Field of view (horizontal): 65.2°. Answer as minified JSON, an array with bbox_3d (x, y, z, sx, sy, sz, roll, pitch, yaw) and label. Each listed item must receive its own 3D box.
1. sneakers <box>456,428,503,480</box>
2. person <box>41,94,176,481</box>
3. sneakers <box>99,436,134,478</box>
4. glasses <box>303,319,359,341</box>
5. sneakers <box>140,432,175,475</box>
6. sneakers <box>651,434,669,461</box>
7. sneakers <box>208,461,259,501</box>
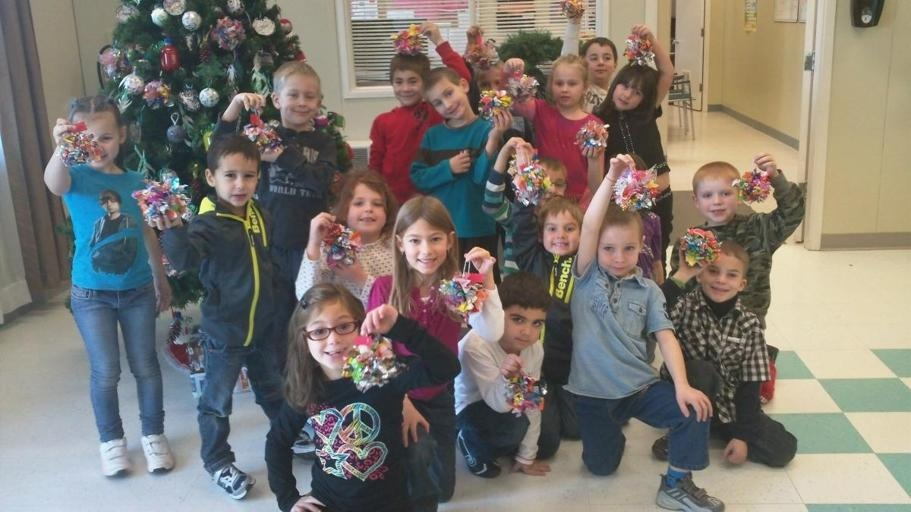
[{"bbox_3d":[0.101,1.171,4.302,0.162,0.149,0.400,-12,25,-30],"label":"sneakers"},{"bbox_3d":[-2.060,0.194,4.293,0.580,2.244,0.636,-7,16,-13],"label":"person"},{"bbox_3d":[-2.069,1.238,4.324,0.125,0.111,0.304,-8,10,-36],"label":"sneakers"},{"bbox_3d":[-0.640,0.386,3.639,0.273,0.076,0.079,-4,14,-8],"label":"glasses"},{"bbox_3d":[-1.848,1.205,4.399,0.125,0.119,0.324,-15,26,-26],"label":"sneakers"},{"bbox_3d":[1.244,1.182,4.319,0.063,0.074,0.163,0,3,8],"label":"sneakers"},{"bbox_3d":[-1.302,1.320,4.209,0.323,0.138,0.124,22,55,26],"label":"sneakers"}]
